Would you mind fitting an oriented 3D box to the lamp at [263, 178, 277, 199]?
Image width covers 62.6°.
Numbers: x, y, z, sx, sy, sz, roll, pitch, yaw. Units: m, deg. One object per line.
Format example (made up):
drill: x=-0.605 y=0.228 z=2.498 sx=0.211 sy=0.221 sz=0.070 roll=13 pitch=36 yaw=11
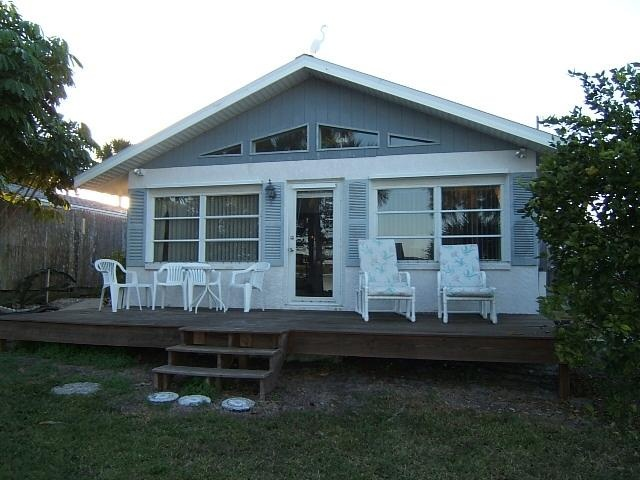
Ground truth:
lamp: x=-0.882 y=-0.916 z=9.445 sx=0.235 sy=0.358 sz=0.119 roll=1 pitch=6 yaw=6
